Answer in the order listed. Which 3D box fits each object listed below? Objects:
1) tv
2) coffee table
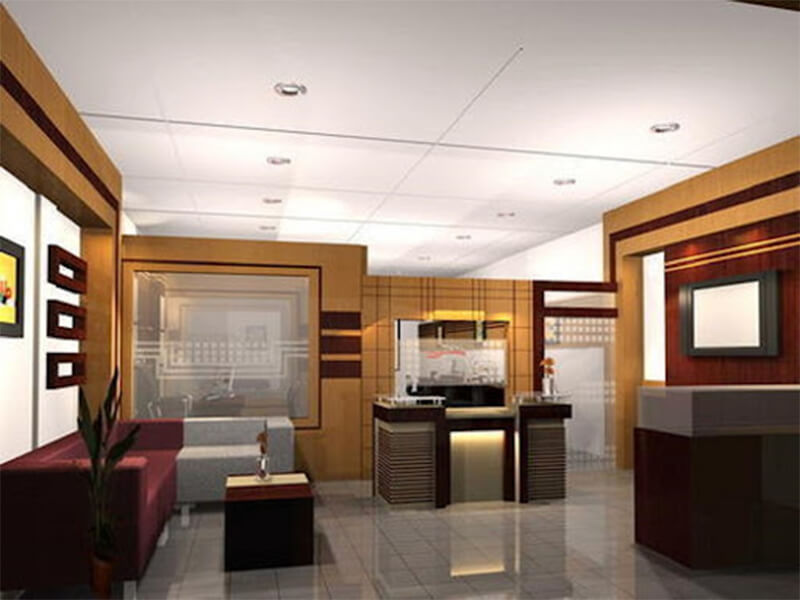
[{"bbox_3d":[3.706,0.156,6.824,0.109,0.714,0.992,4,-7,-18],"label":"tv"},{"bbox_3d":[-1.157,1.908,5.385,0.742,0.564,0.743,0,1,-14],"label":"coffee table"}]
